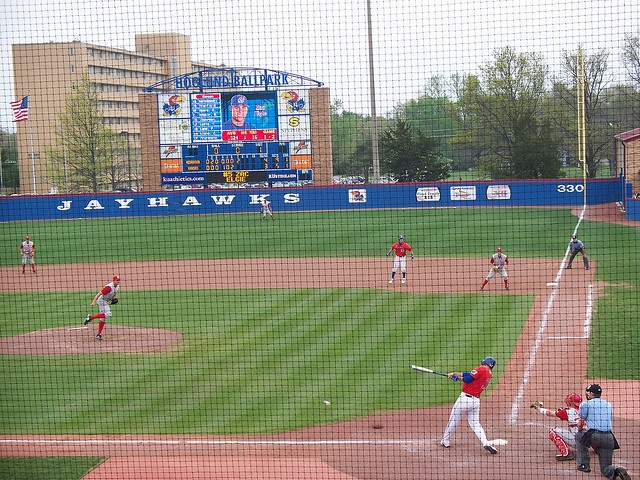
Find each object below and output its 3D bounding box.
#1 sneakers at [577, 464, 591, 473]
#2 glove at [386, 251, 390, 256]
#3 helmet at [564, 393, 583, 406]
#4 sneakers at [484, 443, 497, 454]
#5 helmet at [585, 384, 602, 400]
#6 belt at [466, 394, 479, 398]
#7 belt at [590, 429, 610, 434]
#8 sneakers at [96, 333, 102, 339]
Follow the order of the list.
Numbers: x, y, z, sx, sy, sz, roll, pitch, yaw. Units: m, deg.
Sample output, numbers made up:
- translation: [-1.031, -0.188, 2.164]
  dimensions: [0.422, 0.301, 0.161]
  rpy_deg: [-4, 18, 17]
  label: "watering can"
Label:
- translation: [9.247, 7.853, 42.541]
  dimensions: [0.240, 0.189, 0.414]
  rpy_deg: [-7, 17, -34]
  label: "sneakers"
- translation: [3.201, 0.546, 57.920]
  dimensions: [0.107, 0.292, 0.217]
  rpy_deg: [9, -25, 6]
  label: "glove"
- translation: [9.081, 5.587, 43.635]
  dimensions: [0.579, 0.502, 0.468]
  rpy_deg: [11, 4, 25]
  label: "helmet"
- translation: [6.108, 7.321, 43.382]
  dimensions: [0.520, 0.199, 0.233]
  rpy_deg: [38, 26, -7]
  label: "sneakers"
- translation: [9.621, 5.189, 42.484]
  dimensions: [0.570, 0.532, 0.440]
  rpy_deg: [8, 5, 29]
  label: "helmet"
- translation: [5.421, 5.457, 43.569]
  dimensions: [0.365, 0.089, 0.079]
  rpy_deg: [17, 10, 2]
  label: "belt"
- translation: [9.651, 6.465, 41.956]
  dimensions: [0.763, 0.115, 0.098]
  rpy_deg: [-1, 11, 6]
  label: "belt"
- translation: [-9.233, 3.929, 50.781]
  dimensions: [0.248, 0.213, 0.220]
  rpy_deg: [-6, 12, -17]
  label: "sneakers"
